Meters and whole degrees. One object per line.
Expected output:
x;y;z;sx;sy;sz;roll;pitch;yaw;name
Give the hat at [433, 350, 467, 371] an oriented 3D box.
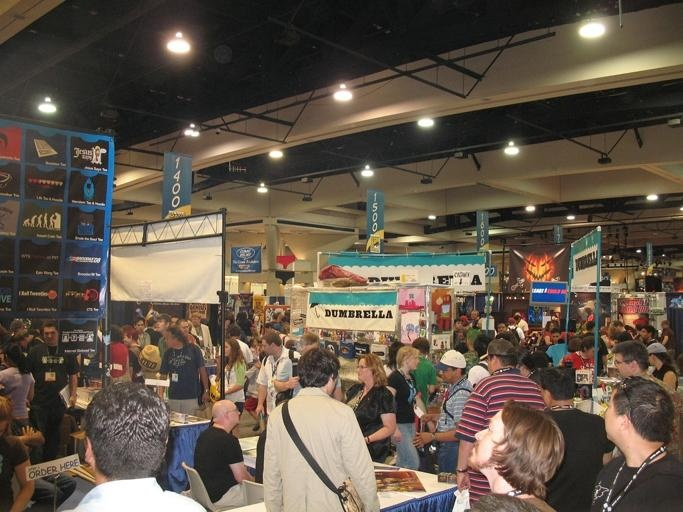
1.073;1.014;5.501;0.226;0.132;0.173;6;0;23;hat
